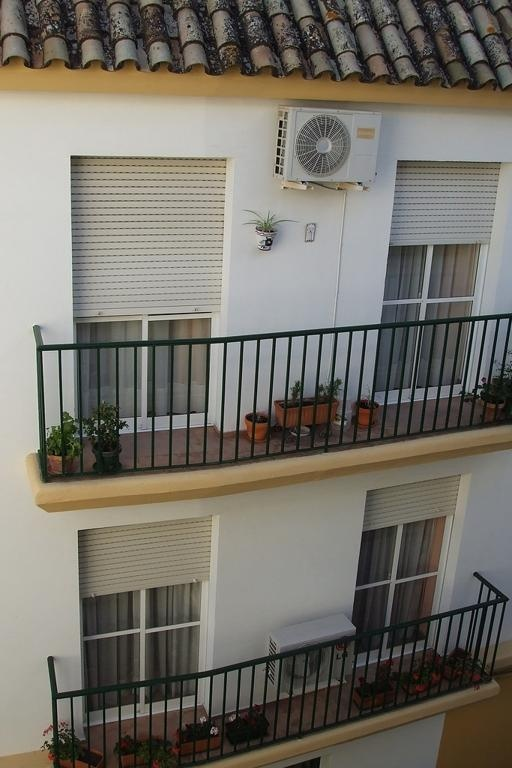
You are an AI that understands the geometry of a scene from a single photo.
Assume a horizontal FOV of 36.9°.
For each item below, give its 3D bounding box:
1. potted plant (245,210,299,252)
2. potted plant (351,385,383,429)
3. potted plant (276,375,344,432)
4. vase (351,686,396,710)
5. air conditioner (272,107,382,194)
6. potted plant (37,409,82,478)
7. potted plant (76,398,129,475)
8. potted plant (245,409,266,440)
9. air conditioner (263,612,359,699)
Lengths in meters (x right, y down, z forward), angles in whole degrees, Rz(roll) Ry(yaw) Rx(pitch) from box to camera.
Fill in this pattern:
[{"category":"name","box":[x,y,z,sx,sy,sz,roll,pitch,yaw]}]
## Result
[{"category":"potted plant","box":[0.137,-1.310,6.610,0.331,0.230,0.346,4,11,-28]},{"category":"potted plant","box":[1.041,0.243,7.321,0.352,0.335,0.361,3,21,2]},{"category":"potted plant","box":[0.499,0.166,7.181,0.663,0.415,0.253,-6,22,-21]},{"category":"vase","box":[1.254,3.366,8.104,0.422,0.258,0.252,0,11,-5]},{"category":"air conditioner","box":[0.564,-1.974,6.371,0.758,0.610,0.291,-4,29,-22]},{"category":"potted plant","box":[-1.530,0.521,6.085,0.328,0.406,0.320,0,6,-32]},{"category":"potted plant","box":[-1.247,0.484,6.394,0.400,0.524,0.379,0,2,-13]},{"category":"potted plant","box":[0.007,0.388,6.961,0.261,0.192,0.249,1,16,-8]},{"category":"air conditioner","box":[0.522,2.797,7.885,1.000,0.806,0.393,-10,33,-17]}]
